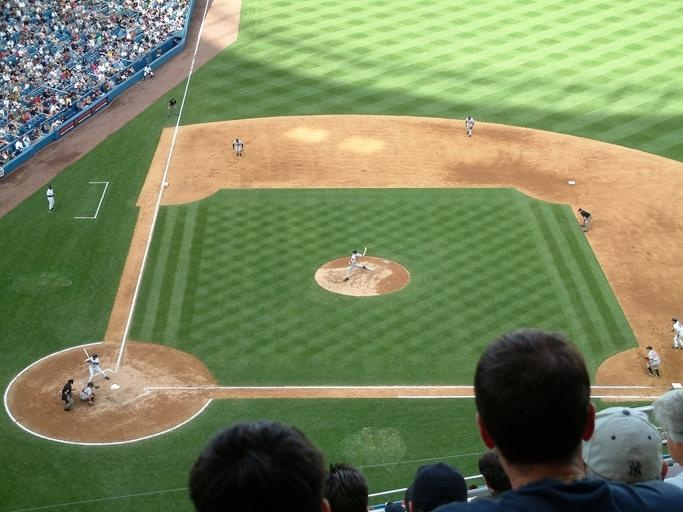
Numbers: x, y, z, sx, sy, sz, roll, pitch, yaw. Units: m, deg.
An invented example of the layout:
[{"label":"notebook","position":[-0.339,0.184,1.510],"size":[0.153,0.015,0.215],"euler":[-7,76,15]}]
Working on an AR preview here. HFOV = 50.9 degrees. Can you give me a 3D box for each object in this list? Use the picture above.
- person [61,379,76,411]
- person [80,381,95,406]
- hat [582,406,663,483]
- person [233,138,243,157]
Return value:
[{"label":"person","position":[-10.213,5.128,26.688],"size":[0.456,1.119,0.994],"euler":[-7,18,-21]},{"label":"person","position":[-9.508,5.143,26.846],"size":[0.524,0.820,0.638],"euler":[-5,18,-15]},{"label":"hat","position":[2.999,2.067,7.580],"size":[0.978,0.474,1.001],"euler":[0,22,5]},{"label":"person","position":[-6.415,-6.895,44.627],"size":[0.715,1.140,1.728],"euler":[-2,14,-8]}]
